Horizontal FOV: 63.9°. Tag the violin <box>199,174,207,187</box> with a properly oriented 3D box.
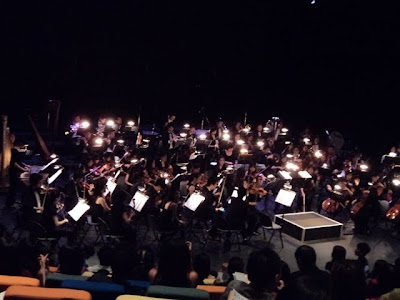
[{"bbox_3d":[0.086,1.123,11.817,0.146,0.301,0.409,8,43,21],"label":"violin"}]

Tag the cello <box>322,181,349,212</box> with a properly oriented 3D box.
[{"bbox_3d":[4.897,1.729,11.544,0.880,1.238,0.467,23,15,40],"label":"cello"}]

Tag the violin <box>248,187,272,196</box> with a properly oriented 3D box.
[{"bbox_3d":[1.998,1.433,10.997,0.513,0.116,0.367,17,3,0],"label":"violin"}]

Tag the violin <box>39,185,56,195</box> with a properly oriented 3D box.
[{"bbox_3d":[-4.524,1.201,9.521,0.422,0.284,0.793,7,-2,-25],"label":"violin"}]
